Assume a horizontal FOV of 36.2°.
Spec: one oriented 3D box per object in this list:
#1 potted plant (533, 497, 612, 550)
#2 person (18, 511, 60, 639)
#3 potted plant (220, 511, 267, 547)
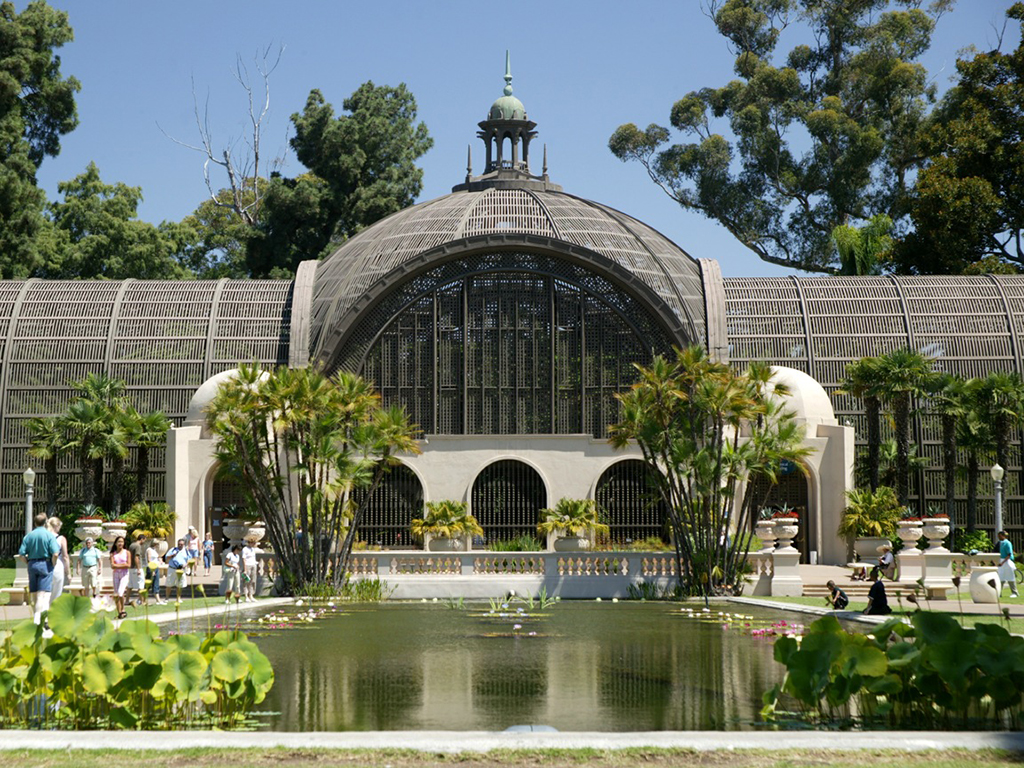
[{"bbox_3d":[2.102,4.579,51.744,1.586,1.910,1.980,8,-9,-38],"label":"potted plant"},{"bbox_3d":[-10.440,4.296,34.602,0.973,3.201,1.236,0,-2,-10],"label":"person"},{"bbox_3d":[-8.288,4.504,48.707,1.052,0.804,1.144,3,-5,-9],"label":"potted plant"}]
